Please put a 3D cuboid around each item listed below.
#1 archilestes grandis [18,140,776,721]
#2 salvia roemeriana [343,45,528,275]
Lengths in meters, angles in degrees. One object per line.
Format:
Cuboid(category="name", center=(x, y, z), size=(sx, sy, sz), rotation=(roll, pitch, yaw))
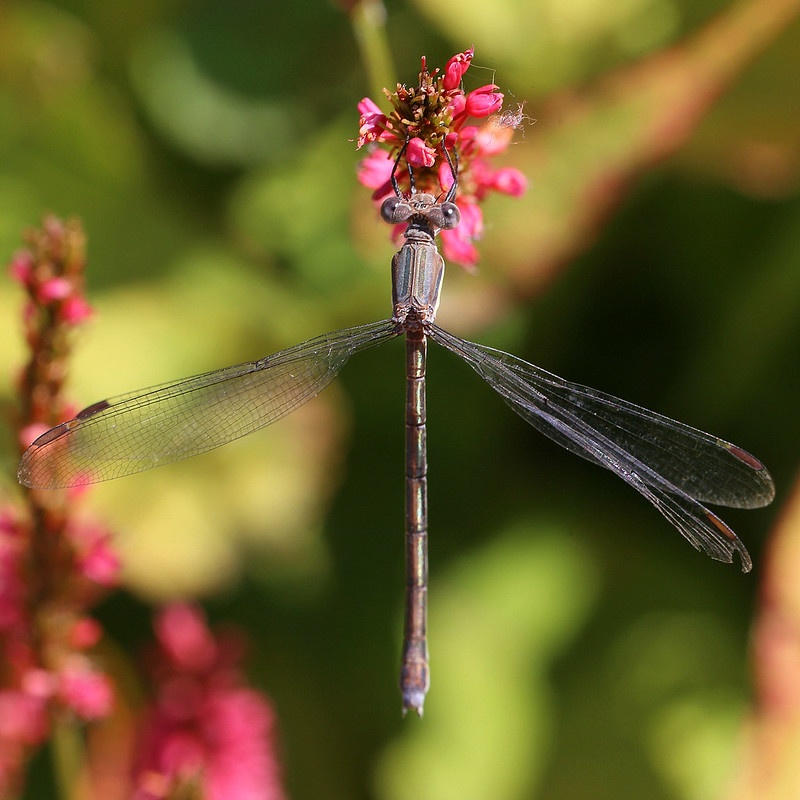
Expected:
Cuboid(category="archilestes grandis", center=(-0.003, 0.007, 1.463), size=(1.037, 0.162, 0.739), rotation=(8, -94, 1))
Cuboid(category="salvia roemeriana", center=(0.045, -0.300, 1.371), size=(0.166, 0.184, 0.299), rotation=(-26, -42, -30))
